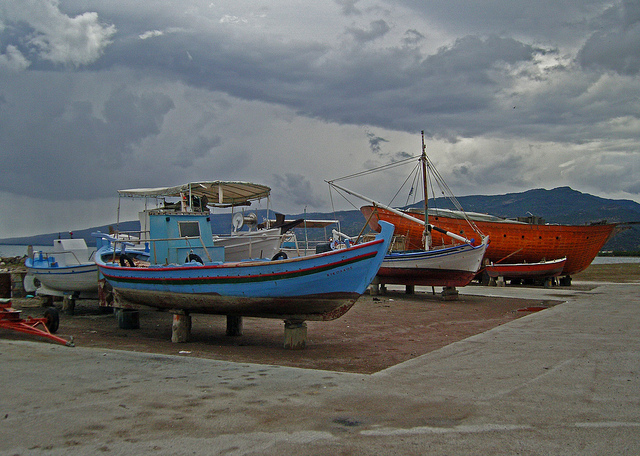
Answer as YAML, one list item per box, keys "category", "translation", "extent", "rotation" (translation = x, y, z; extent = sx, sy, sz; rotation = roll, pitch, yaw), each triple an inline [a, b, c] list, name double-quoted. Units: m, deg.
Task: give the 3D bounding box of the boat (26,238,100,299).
- category: "boat"
  translation: [-8.236, 1.361, 19.935]
  extent: [5.089, 1.696, 1.860]
  rotation: [-1, -1, 42]

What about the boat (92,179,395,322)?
- category: "boat"
  translation: [-2.173, 0.482, 14.951]
  extent: [8.554, 2.683, 2.672]
  rotation: [0, 2, 28]

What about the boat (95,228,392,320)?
- category: "boat"
  translation: [-1.726, 1.012, 13.794]
  extent: [6.622, 2.130, 1.022]
  rotation: [1, 3, 20]

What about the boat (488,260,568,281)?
- category: "boat"
  translation: [11.401, 2.472, 32.486]
  extent: [3.926, 1.174, 2.488]
  rotation: [-2, 2, 39]
